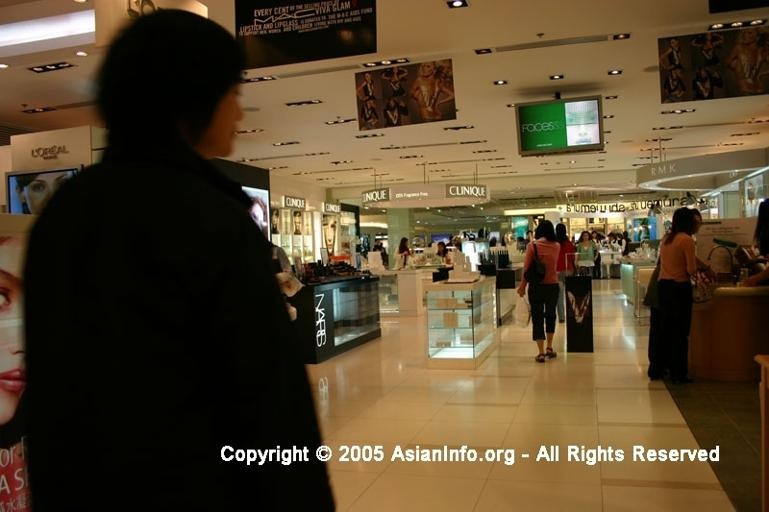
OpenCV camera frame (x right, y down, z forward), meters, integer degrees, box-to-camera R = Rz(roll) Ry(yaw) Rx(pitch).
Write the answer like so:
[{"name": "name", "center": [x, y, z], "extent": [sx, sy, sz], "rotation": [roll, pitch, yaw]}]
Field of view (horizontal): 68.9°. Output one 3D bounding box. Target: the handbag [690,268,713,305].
[{"name": "handbag", "center": [3.422, 0.327, 5.995], "extent": [0.283, 0.395, 0.140], "rotation": [1, -5, 1]}]

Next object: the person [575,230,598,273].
[{"name": "person", "center": [4.520, 0.051, 12.475], "extent": [0.501, 1.288, 0.418], "rotation": [-6, 25, 12]}]

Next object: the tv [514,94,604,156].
[{"name": "tv", "center": [2.874, -2.111, 9.206], "extent": [1.381, 0.925, 0.141], "rotation": [-4, 2, 6]}]

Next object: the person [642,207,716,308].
[{"name": "person", "center": [3.309, 0.029, 6.239], "extent": [0.706, 1.289, 0.540], "rotation": [-12, 23, 13]}]

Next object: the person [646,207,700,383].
[{"name": "person", "center": [3.064, 0.424, 5.905], "extent": [0.344, 1.664, 0.665], "rotation": [-3, 0, -10]}]
